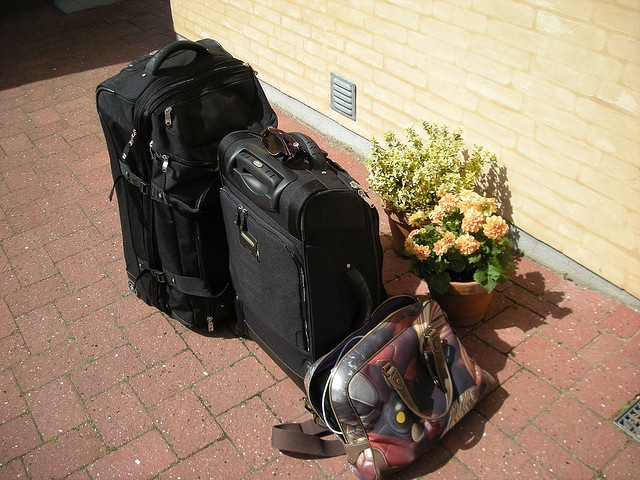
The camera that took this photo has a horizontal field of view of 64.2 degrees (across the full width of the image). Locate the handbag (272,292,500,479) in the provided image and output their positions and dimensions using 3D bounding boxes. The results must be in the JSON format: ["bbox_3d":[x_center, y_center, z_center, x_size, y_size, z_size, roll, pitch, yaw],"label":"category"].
[{"bbox_3d":[0.421,0.744,2.695,0.869,0.571,0.594,-30,52,-24],"label":"handbag"}]

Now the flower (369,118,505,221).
[{"bbox_3d":[0.759,-0.512,3.487,0.730,0.554,0.790,-13,43,-19],"label":"flower"}]

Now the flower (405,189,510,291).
[{"bbox_3d":[0.835,0.092,3.202,0.617,0.538,0.599,-5,68,16],"label":"flower"}]

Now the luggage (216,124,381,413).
[{"bbox_3d":[-0.146,0.213,2.716,0.674,1.290,0.978,-28,53,-24],"label":"luggage"}]
